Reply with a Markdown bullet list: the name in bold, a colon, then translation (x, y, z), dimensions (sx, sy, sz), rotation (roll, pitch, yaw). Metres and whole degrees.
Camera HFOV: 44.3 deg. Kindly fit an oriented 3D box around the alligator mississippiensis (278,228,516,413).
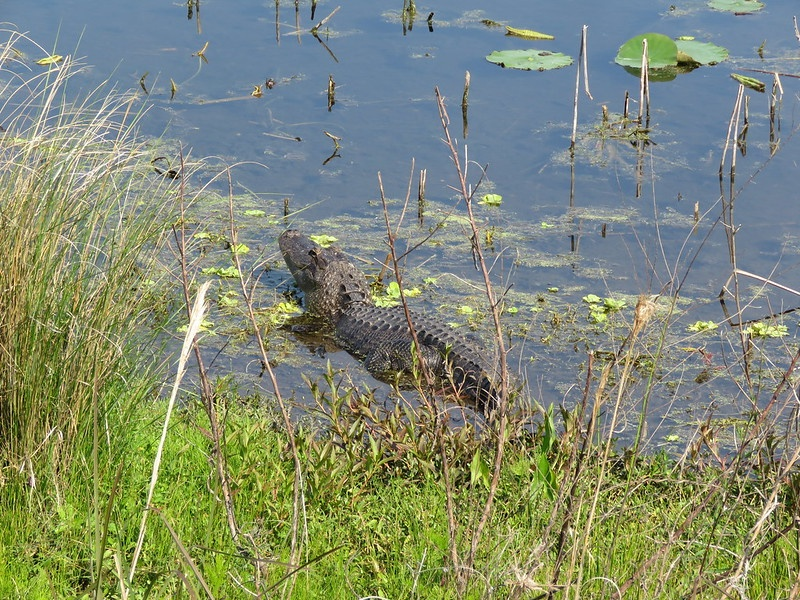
- **alligator mississippiensis**: translation (-0.228, 0.280, 9.940), dimensions (2.936, 0.955, 1.149), rotation (33, 10, 25)
